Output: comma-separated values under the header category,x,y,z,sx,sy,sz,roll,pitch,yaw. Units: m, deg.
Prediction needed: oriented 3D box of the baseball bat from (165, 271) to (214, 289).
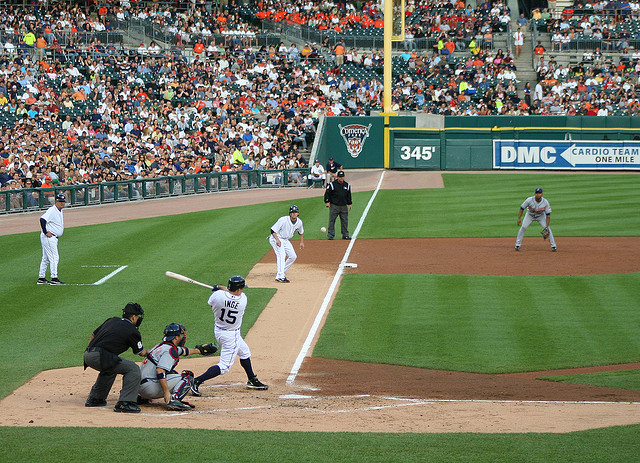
category,x,y,z,sx,sy,sz,roll,pitch,yaw
baseball bat,-3.379,1.259,25.605,1.576,0.185,0.120,20,-10,-21

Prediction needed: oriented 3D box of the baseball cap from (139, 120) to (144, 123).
category,x,y,z,sx,sy,sz,roll,pitch,yaw
baseball cap,-8.002,-4.938,44.469,0.201,0.135,0.208,5,7,44

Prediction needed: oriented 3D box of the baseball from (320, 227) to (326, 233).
category,x,y,z,sx,sy,sz,roll,pitch,yaw
baseball,0.110,-0.061,33.190,0.172,0.104,0.151,1,1,-10

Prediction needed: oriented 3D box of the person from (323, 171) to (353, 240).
category,x,y,z,sx,sy,sz,roll,pitch,yaw
person,0.580,-0.793,31.661,0.855,2.313,1.308,1,9,0

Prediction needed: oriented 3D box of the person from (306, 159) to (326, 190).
category,x,y,z,sx,sy,sz,roll,pitch,yaw
person,-0.155,-2.646,45.039,0.948,1.204,0.850,-5,8,16

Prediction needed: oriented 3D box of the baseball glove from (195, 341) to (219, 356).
category,x,y,z,sx,sy,sz,roll,pitch,yaw
baseball glove,-2.280,2.365,20.070,0.466,0.212,0.346,-15,-6,43

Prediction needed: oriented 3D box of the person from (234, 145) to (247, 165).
category,x,y,z,sx,sy,sz,roll,pitch,yaw
person,-3.632,-3.425,44.929,0.272,0.708,0.577,-2,1,41

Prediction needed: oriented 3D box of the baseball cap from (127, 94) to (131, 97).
category,x,y,z,sx,sy,sz,roll,pitch,yaw
baseball cap,-8.973,-6.406,46.726,0.144,0.086,0.121,-1,9,-11

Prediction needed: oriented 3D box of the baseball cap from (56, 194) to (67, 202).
category,x,y,z,sx,sy,sz,roll,pitch,yaw
baseball cap,-6.745,-0.874,25.968,0.273,0.169,0.348,6,-4,-32

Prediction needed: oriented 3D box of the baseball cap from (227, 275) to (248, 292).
category,x,y,z,sx,sy,sz,roll,pitch,yaw
baseball cap,-1.637,1.029,20.168,0.243,0.227,0.425,15,20,42

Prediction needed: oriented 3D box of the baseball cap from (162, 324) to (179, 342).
category,x,y,z,sx,sy,sz,roll,pitch,yaw
baseball cap,-2.935,1.992,19.566,0.293,0.339,0.339,-1,9,-14

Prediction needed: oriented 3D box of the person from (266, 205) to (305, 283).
category,x,y,z,sx,sy,sz,roll,pitch,yaw
person,-0.925,0.310,27.035,0.871,2.113,1.104,3,10,11

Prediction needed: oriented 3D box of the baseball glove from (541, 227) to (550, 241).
category,x,y,z,sx,sy,sz,roll,pitch,yaw
baseball glove,6.780,0.029,29.857,0.239,0.312,0.110,23,24,18

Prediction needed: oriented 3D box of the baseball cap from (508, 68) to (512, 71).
category,x,y,z,sx,sy,sz,roll,pitch,yaw
baseball cap,10.353,-8.828,54.112,0.227,0.137,0.105,-5,11,-34

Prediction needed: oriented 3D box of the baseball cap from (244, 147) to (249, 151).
category,x,y,z,sx,sy,sz,roll,pitch,yaw
baseball cap,-3.322,-3.753,45.065,0.227,0.193,0.213,0,-3,1

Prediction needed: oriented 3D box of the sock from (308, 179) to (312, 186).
category,x,y,z,sx,sy,sz,roll,pitch,yaw
sock,-0.459,-2.241,45.297,0.164,0.322,0.483,0,9,-7
